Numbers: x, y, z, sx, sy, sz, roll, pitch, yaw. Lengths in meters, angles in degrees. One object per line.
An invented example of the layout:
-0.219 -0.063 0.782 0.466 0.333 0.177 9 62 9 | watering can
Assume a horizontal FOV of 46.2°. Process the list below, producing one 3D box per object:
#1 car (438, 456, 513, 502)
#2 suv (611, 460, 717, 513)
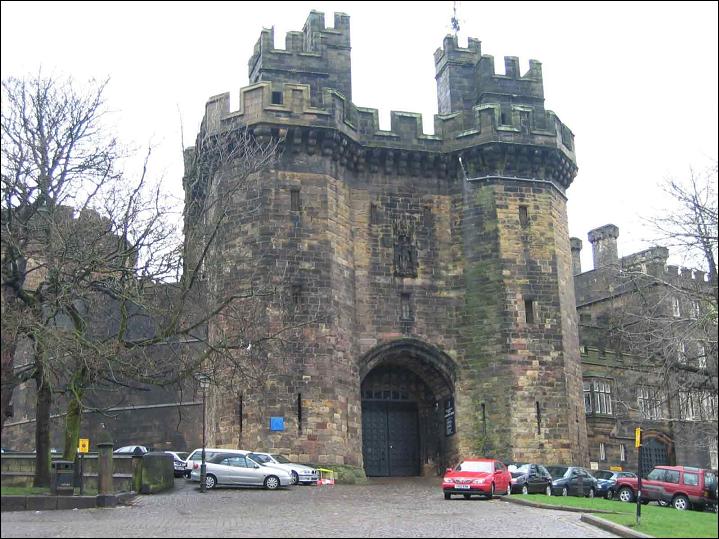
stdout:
4.025 7.230 29.199 1.768 1.456 2.922 -8 -19 21 | car
11.657 7.875 30.527 2.570 1.643 1.163 -12 -19 31 | suv
